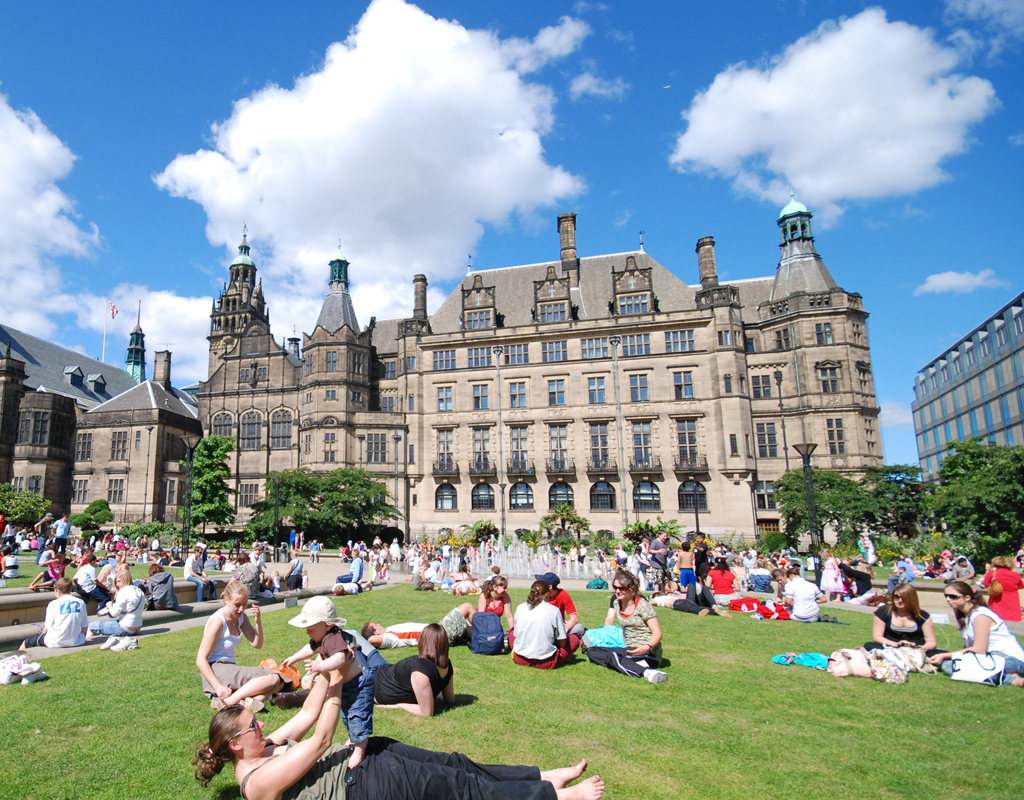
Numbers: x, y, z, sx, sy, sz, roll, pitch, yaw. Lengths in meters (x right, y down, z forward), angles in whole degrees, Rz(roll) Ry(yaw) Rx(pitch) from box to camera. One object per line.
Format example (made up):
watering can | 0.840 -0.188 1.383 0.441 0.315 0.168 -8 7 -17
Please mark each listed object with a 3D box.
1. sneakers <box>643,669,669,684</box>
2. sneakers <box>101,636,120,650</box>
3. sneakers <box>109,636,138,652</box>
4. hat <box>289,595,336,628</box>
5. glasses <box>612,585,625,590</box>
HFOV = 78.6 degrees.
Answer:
sneakers | 2.303 4.481 10.245 0.298 0.125 0.193 -11 -27 30
sneakers | -7.623 4.585 11.917 0.386 0.217 0.217 -9 -15 26
sneakers | -7.442 4.591 11.937 0.406 0.149 0.268 -5 -6 29
hat | -2.135 2.292 6.968 0.431 0.301 0.578 -7 -18 30
glasses | 1.802 3.183 10.644 0.214 0.089 0.118 -11 -16 31
